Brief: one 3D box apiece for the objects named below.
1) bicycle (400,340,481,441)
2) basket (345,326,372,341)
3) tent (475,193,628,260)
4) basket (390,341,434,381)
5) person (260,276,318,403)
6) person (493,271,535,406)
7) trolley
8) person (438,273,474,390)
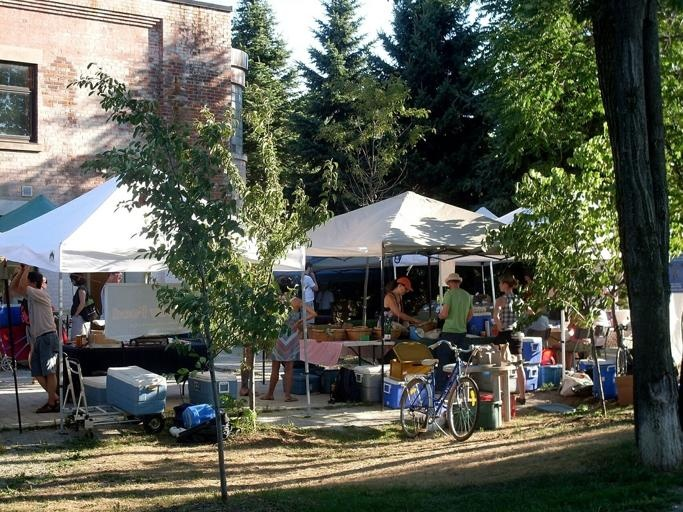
[{"bbox_3d":[1.677,2.199,16.198,1.248,1.619,1.542,3,-7,-38],"label":"bicycle"},{"bbox_3d":[0.338,1.511,19.060,0.295,0.173,0.302,2,-1,-27],"label":"basket"},{"bbox_3d":[4.113,-0.764,20.272,1.528,0.459,1.502,1,-3,29],"label":"tent"},{"bbox_3d":[1.200,1.864,17.706,0.579,0.731,0.638,-1,2,-28],"label":"basket"},{"bbox_3d":[-0.964,1.549,18.457,0.888,2.375,0.674,4,11,4],"label":"person"},{"bbox_3d":[3.182,1.505,18.398,0.737,2.308,0.623,2,3,31],"label":"person"},{"bbox_3d":[-3.784,2.335,16.350,1.478,1.300,1.173,-1,4,-27],"label":"trolley"},{"bbox_3d":[1.958,1.311,17.760,0.590,1.986,0.740,1,-1,-33],"label":"person"}]
